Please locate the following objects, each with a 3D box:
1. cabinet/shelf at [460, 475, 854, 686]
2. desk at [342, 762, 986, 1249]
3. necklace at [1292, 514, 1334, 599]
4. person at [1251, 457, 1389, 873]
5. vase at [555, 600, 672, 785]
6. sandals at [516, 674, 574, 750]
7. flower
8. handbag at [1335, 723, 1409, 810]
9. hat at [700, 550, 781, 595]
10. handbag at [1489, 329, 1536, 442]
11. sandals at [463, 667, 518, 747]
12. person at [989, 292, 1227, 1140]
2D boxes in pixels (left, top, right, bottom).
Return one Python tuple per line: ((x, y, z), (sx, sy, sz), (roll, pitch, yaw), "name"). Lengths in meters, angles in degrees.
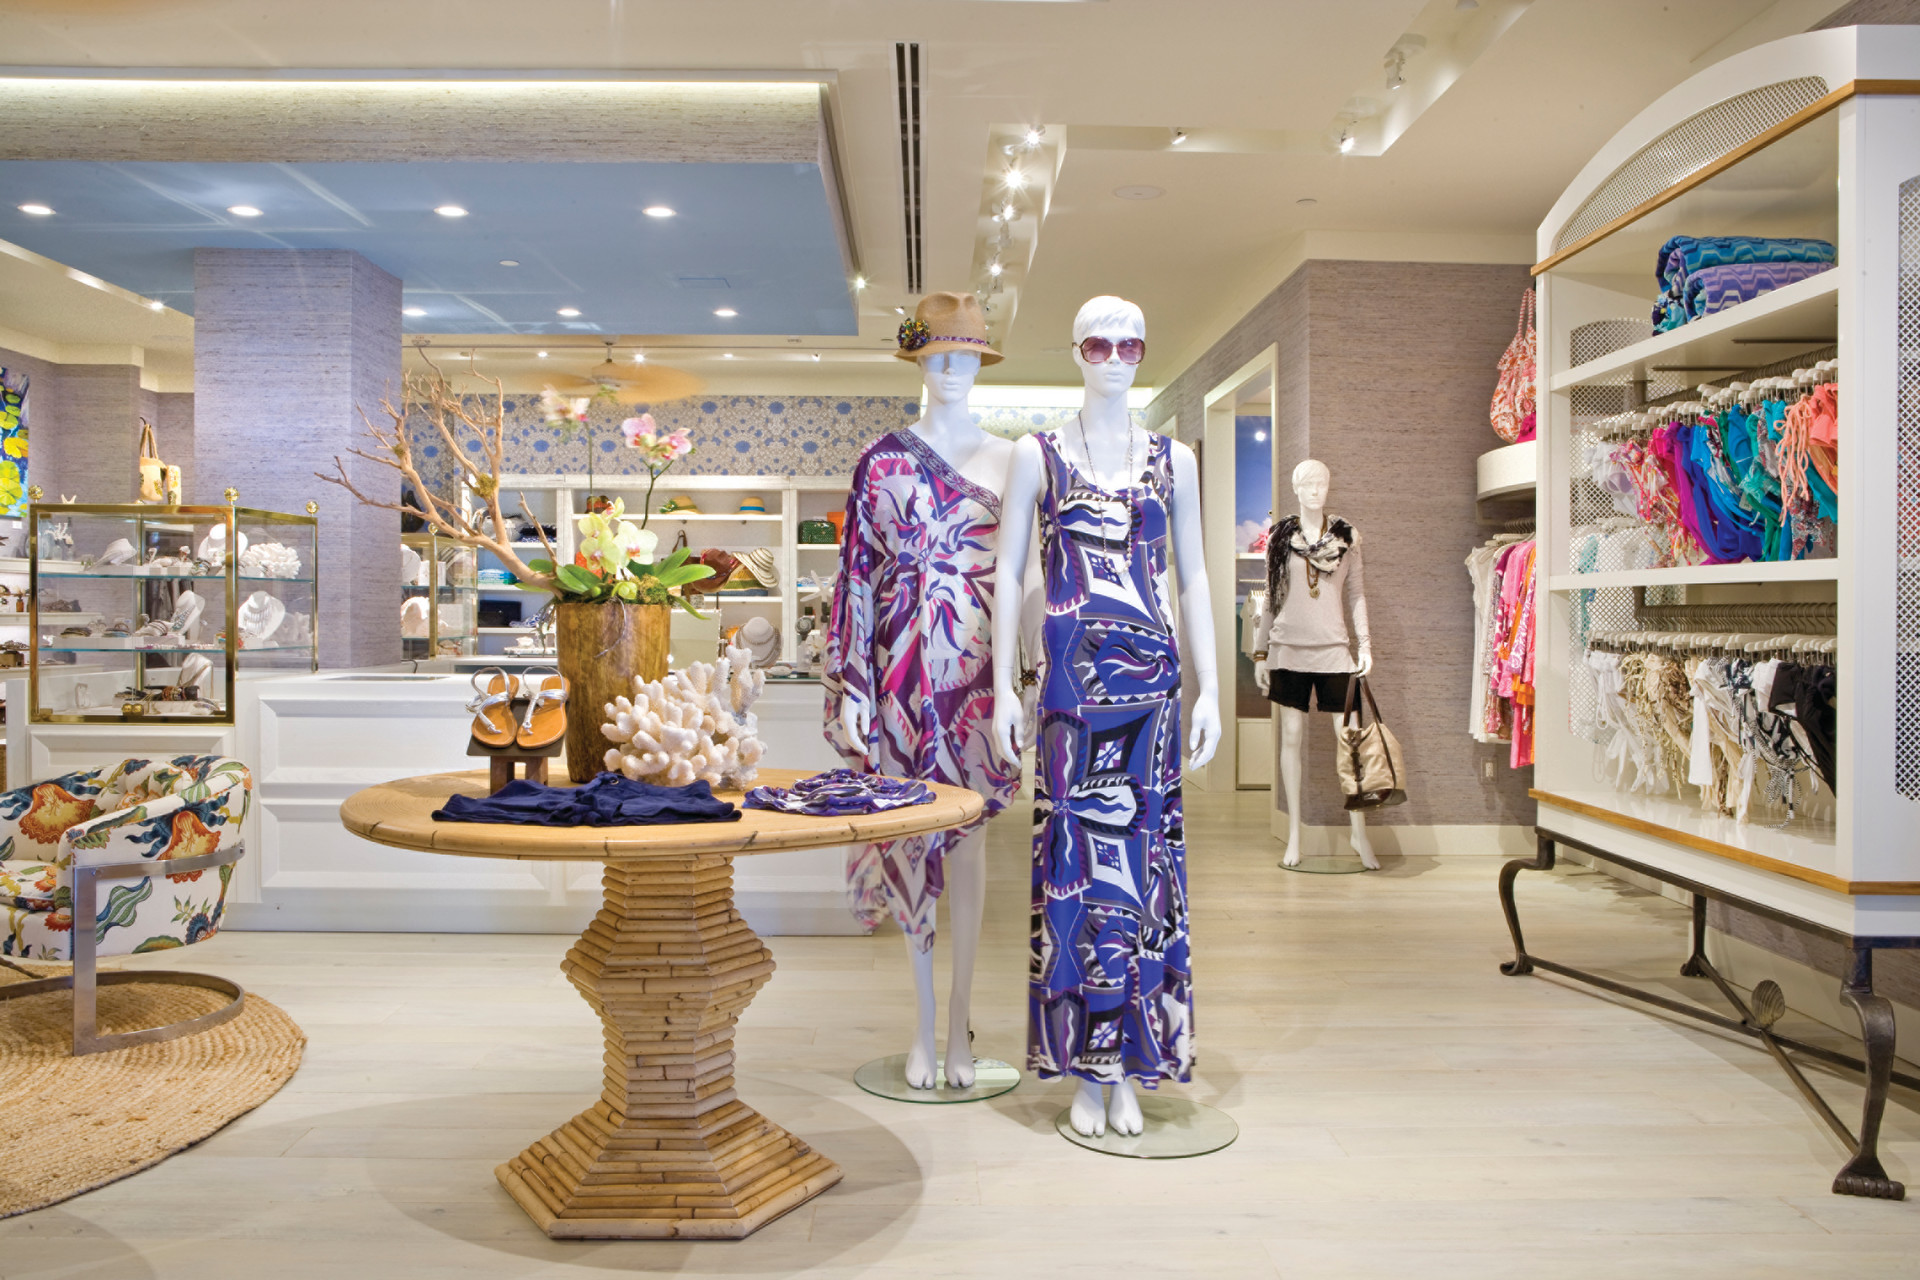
((-2.106, -0.215, 9.095), (2.618, 1.185, 0.352), (-15, 12, 29), "cabinet/shelf")
((-0.764, 0.954, 3.482), (1.451, 1.146, 0.639), (1, 10, 1), "desk")
((1.733, -0.405, 6.749), (0.198, 0.346, 0.126), (4, 10, 16), "necklace")
((1.838, 0.112, 6.864), (0.585, 2.021, 0.878), (0, 10, -2), "person")
((-0.881, 0.139, 3.704), (0.348, 0.464, 0.322), (0, -16, 2), "vase")
((-1.069, 0.193, 3.549), (0.098, 0.198, 0.049), (12, -31, -13), "sandals")
((-0.880, -0.352, 3.707), (0.581, 0.479, 0.351), (3, 10, -7), "flower")
((1.980, 0.587, 6.615), (0.299, 0.402, 0.312), (3, 10, 12), "handbag")
((-1.284, -0.403, 8.110), (0.605, 0.204, 0.754), (1, 0, -3), "hat")
((2.617, -1.194, 6.434), (0.320, 0.428, 0.132), (0, -2, 37), "handbag")
((-1.203, 0.168, 3.564), (0.108, 0.057, 0.223), (-1, 41, -11), "sandals")
((0.405, 0.226, 3.937), (0.635, 2.398, 0.529), (2, 10, 9), "person")
